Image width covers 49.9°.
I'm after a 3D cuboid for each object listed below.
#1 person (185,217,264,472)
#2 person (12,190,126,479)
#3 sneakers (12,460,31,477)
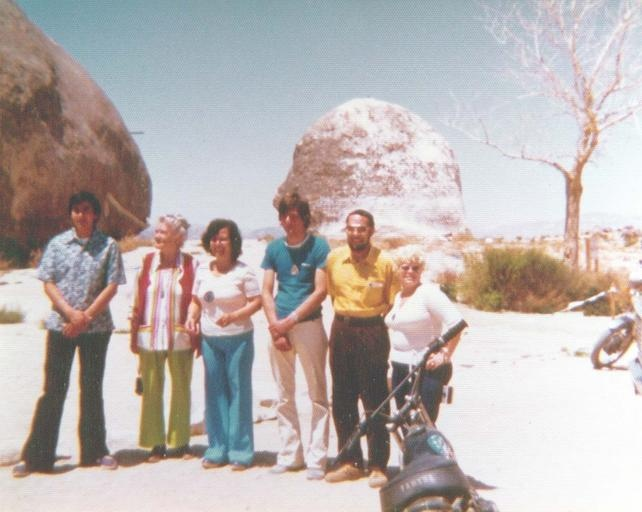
[{"bbox_3d":[-0.882,0.800,6.388,0.675,2.274,0.341,1,-5,-9],"label":"person"},{"bbox_3d":[-2.246,0.690,6.340,0.831,2.572,0.356,2,-6,-23],"label":"person"},{"bbox_3d":[-2.693,1.920,6.208,0.125,0.127,0.046,2,-32,-6],"label":"sneakers"}]
